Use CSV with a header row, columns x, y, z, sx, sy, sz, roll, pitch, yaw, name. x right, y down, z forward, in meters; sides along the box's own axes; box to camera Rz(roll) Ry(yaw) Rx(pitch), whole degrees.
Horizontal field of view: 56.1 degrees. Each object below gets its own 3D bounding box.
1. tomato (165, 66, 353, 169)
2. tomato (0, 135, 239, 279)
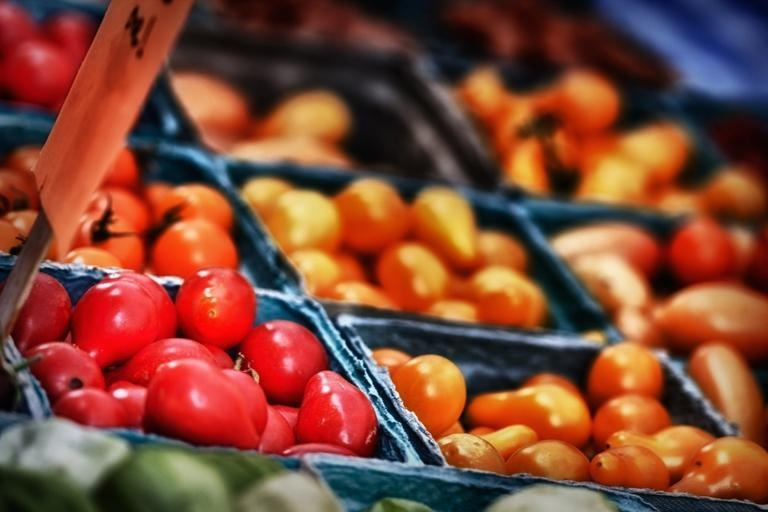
x,y,z,sx,sy,sz,roll,pitch,yaw,name
-0.278,-0.292,1.606,0.257,0.112,0.258,18,15,-2,tomato
-0.584,-0.050,1.592,0.389,0.151,0.391,-5,26,-32,tomato
